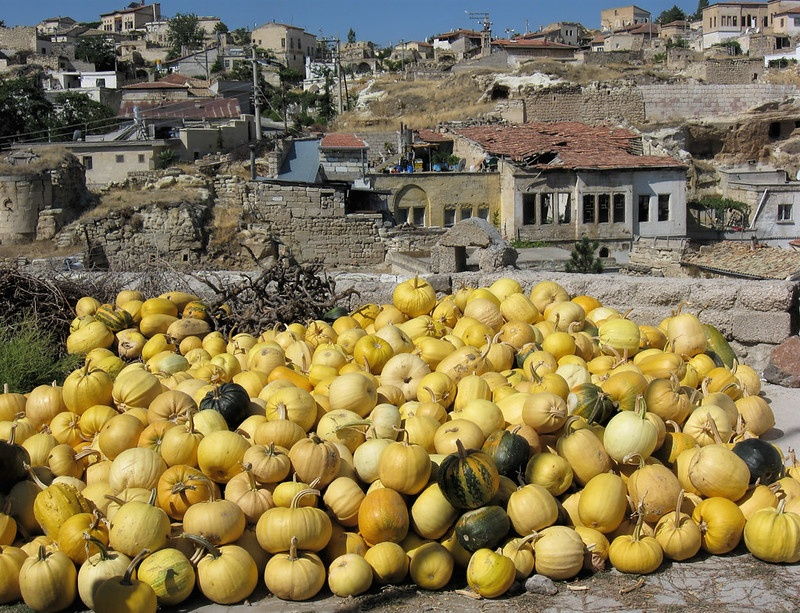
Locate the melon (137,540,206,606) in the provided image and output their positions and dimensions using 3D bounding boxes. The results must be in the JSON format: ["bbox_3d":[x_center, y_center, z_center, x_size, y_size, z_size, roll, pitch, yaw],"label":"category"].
[{"bbox_3d":[-1.618,1.931,6.728,0.329,0.391,0.374,-11,35,12],"label":"melon"}]

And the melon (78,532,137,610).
[{"bbox_3d":[-2.032,1.861,6.570,0.308,0.534,0.349,-6,19,-1],"label":"melon"}]

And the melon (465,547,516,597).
[{"bbox_3d":[0.658,1.908,6.762,0.286,0.373,0.335,22,-22,21],"label":"melon"}]

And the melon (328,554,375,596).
[{"bbox_3d":[-0.354,1.895,6.677,0.252,0.269,0.258,-20,8,-24],"label":"melon"}]

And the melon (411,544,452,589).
[{"bbox_3d":[0.211,1.849,6.752,0.263,0.360,0.260,-10,-15,38],"label":"melon"}]
